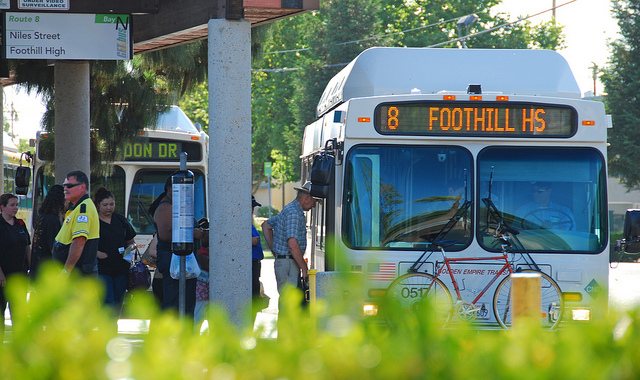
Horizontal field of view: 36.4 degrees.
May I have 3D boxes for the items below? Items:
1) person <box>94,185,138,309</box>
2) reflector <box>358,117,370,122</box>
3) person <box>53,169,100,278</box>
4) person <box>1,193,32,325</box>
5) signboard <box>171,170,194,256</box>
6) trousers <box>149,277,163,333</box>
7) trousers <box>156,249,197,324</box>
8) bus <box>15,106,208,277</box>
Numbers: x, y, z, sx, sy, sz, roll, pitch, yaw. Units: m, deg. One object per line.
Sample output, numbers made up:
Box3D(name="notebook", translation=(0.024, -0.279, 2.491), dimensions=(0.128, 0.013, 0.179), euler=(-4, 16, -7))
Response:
Box3D(name="person", translation=(-3.346, 0.929, 15.578), dimensions=(0.556, 1.816, 0.907), euler=(1, 14, 10))
Box3D(name="reflector", translation=(0.635, -1.028, 14.419), dimensions=(0.174, 0.068, 0.064), euler=(-1, 1, -2))
Box3D(name="person", translation=(-3.698, 0.544, 14.568), dimensions=(0.695, 1.470, 0.850), euler=(-5, 14, -13))
Box3D(name="person", translation=(-4.852, 0.786, 15.362), dimensions=(0.428, 1.370, 0.592), euler=(-5, 14, -14))
Box3D(name="signboard", translation=(-1.976, 0.343, 13.889), dimensions=(0.283, 1.226, 0.263), euler=(0, 0, 4))
Box3D(name="trousers", translation=(-2.063, 1.451, 12.188), dimensions=(0.202, 0.816, 0.220), euler=(2, 3, 4))
Box3D(name="trousers", translation=(-2.212, 1.454, 14.864), dimensions=(0.582, 1.142, 0.529), euler=(0, 1, -17))
Box3D(name="bus", translation=(-3.511, -0.132, 17.598), dimensions=(2.912, 1.888, 3.772), euler=(0, -3, -4))
